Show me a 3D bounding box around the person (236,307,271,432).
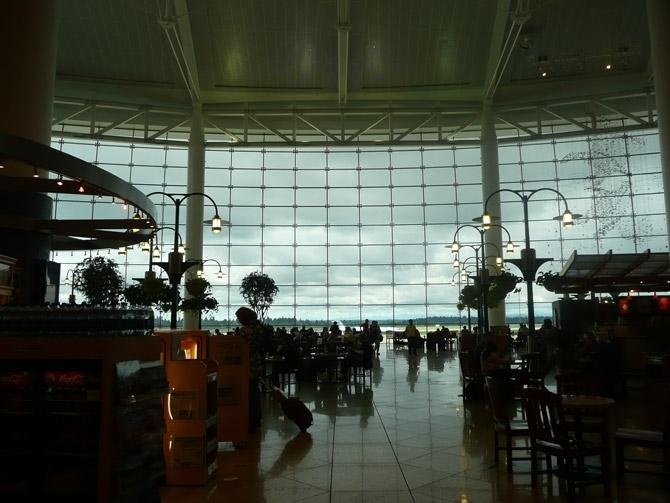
[{"bbox_3d":[-1.424,1.995,10.247,0.522,2.049,0.658,6,-6,-12],"label":"person"}]
